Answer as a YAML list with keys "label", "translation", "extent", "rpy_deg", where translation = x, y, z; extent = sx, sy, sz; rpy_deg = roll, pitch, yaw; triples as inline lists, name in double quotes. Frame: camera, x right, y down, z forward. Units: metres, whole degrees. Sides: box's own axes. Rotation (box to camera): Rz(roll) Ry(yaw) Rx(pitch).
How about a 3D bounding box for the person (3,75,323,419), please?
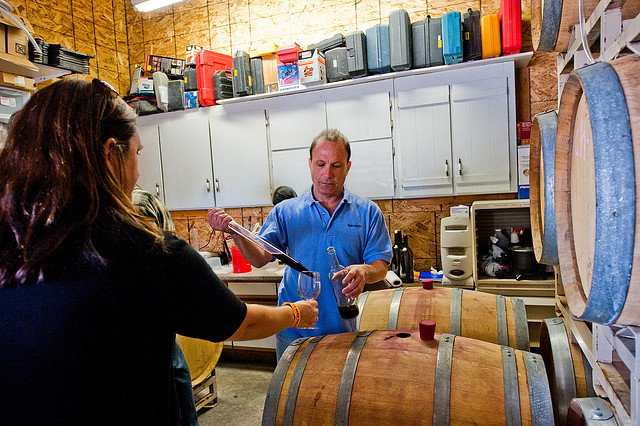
- label: "person"
  translation: [-0.610, 0.120, 1.433]
  extent: [0.768, 1.113, 0.232]
  rpy_deg: [-5, 5, -14]

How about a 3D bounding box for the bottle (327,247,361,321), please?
- label: "bottle"
  translation: [0.106, 0.313, 2.052]
  extent: [0.116, 0.334, 0.201]
  rpy_deg: [-4, 5, 0]

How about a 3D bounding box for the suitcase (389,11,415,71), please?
- label: "suitcase"
  translation: [0.680, -1.446, 3.771]
  extent: [0.147, 0.454, 0.175]
  rpy_deg: [-1, 5, 27]

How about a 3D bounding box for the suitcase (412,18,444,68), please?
- label: "suitcase"
  translation: [0.912, -1.532, 3.878]
  extent: [0.282, 0.469, 0.351]
  rpy_deg: [-2, 34, 15]

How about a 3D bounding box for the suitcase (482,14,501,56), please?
- label: "suitcase"
  translation: [1.385, -1.443, 3.633]
  extent: [0.135, 0.299, 0.100]
  rpy_deg: [-2, 5, 17]

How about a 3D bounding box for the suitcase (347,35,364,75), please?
- label: "suitcase"
  translation: [0.305, -1.360, 3.828]
  extent: [0.123, 0.280, 0.125]
  rpy_deg: [-3, 5, 6]

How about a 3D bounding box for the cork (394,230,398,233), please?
- label: "cork"
  translation: [0.654, 0.154, 3.860]
  extent: [0.032, 0.034, 0.036]
  rpy_deg: [-1, -4, 3]

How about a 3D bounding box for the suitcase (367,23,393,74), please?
- label: "suitcase"
  translation: [0.502, -1.459, 3.909]
  extent: [0.254, 0.392, 0.241]
  rpy_deg: [0, 27, 18]

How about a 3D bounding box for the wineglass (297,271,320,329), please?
- label: "wineglass"
  translation: [-0.039, 0.382, 2.000]
  extent: [0.105, 0.232, 0.119]
  rpy_deg: [4, 11, 11]

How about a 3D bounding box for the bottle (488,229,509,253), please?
- label: "bottle"
  translation: [1.388, 0.213, 3.482]
  extent: [0.184, 0.176, 0.114]
  rpy_deg: [-6, -1, 31]

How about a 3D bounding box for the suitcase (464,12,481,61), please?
- label: "suitcase"
  translation: [1.230, -1.429, 3.649]
  extent: [0.123, 0.345, 0.109]
  rpy_deg: [-2, 5, 17]

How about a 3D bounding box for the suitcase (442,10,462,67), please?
- label: "suitcase"
  translation: [1.074, -1.420, 3.656]
  extent: [0.144, 0.366, 0.225]
  rpy_deg: [-2, 5, 15]

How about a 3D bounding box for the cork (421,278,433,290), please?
- label: "cork"
  translation: [0.613, 0.401, 2.545]
  extent: [0.058, 0.039, 0.057]
  rpy_deg: [-2, -5, 19]
